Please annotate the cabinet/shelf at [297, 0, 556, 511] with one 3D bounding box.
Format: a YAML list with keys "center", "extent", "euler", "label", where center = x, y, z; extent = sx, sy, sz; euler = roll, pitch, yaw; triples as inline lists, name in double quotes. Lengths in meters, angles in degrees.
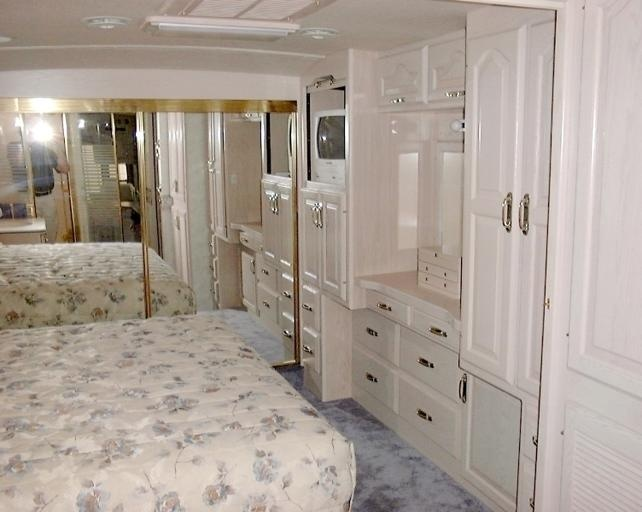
- center: [0.718, 0.000, 3.039]
  extent: [0.729, 2.636, 2.141]
  euler: [-5, 14, -31]
  label: "cabinet/shelf"

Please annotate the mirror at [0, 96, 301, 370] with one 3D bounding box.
- center: [-1.380, -0.278, 3.674]
  extent: [2.192, 2.468, 0.061]
  euler: [2, 15, -7]
  label: "mirror"
